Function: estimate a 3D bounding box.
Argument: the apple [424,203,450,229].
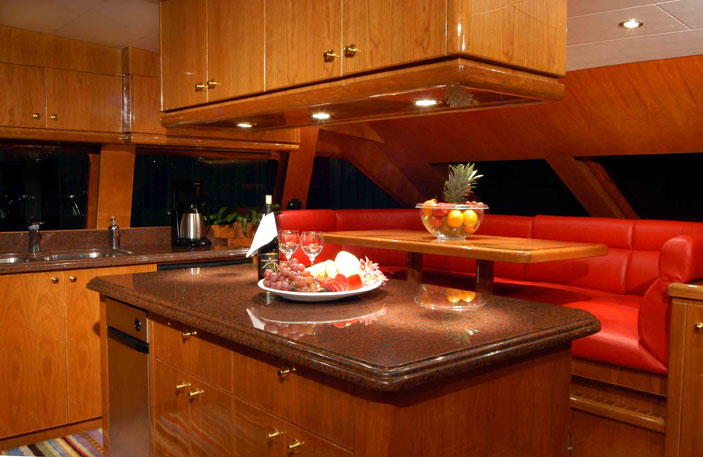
[{"bbox_3d":[0.671,-0.097,4.048,0.194,0.185,0.194,1,-3,-4],"label":"apple"}]

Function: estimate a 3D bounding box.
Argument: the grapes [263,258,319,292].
[{"bbox_3d":[-0.349,0.237,2.696,0.366,0.154,0.125,8,-6,45],"label":"grapes"}]

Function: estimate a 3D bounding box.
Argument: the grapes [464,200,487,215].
[{"bbox_3d":[0.999,-0.167,4.148,0.214,0.110,0.211,1,0,2],"label":"grapes"}]

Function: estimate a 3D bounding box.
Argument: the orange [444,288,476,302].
[{"bbox_3d":[0.600,0.366,2.806,0.099,0.043,0.074,6,-2,-10],"label":"orange"}]

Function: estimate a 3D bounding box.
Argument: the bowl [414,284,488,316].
[{"bbox_3d":[0.530,0.372,2.733,0.284,0.079,0.303,0,6,0],"label":"bowl"}]

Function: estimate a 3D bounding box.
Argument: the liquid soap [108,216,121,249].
[{"bbox_3d":[-2.239,0.031,4.792,0.106,0.292,0.293,-6,11,-24],"label":"liquid soap"}]

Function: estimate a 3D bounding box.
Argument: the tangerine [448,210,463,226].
[{"bbox_3d":[0.813,-0.077,4.000,0.119,0.124,0.115,-1,-4,23],"label":"tangerine"}]

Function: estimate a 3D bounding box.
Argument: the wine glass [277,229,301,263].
[{"bbox_3d":[-0.349,0.085,2.920,0.154,0.226,0.151,3,-3,-32],"label":"wine glass"}]

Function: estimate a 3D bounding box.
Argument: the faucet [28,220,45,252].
[{"bbox_3d":[-2.741,0.085,4.395,0.105,0.257,0.145,-9,13,-37],"label":"faucet"}]

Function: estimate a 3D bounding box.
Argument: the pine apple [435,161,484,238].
[{"bbox_3d":[0.853,-0.230,4.164,0.341,0.530,0.304,-2,8,-34],"label":"pine apple"}]

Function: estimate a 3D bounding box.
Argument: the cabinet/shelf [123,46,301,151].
[{"bbox_3d":[-1.687,-1.231,5.298,1.906,0.782,1.438,-5,9,-42],"label":"cabinet/shelf"}]

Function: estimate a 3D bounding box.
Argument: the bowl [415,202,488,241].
[{"bbox_3d":[0.878,-0.066,4.264,0.578,0.318,0.582,0,4,0],"label":"bowl"}]
